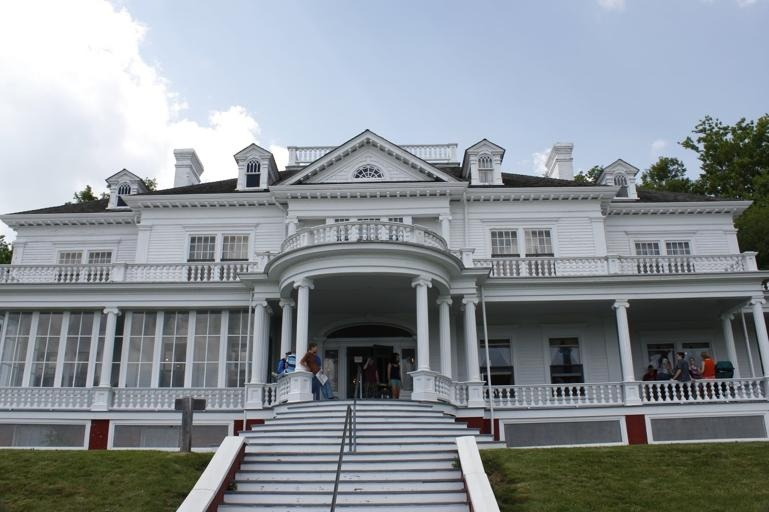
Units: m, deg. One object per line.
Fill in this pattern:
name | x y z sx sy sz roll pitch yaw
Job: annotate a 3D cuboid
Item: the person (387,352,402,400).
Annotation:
person | 0.351 4.719 22.386 0.427 1.763 0.836 -1 -17 2
